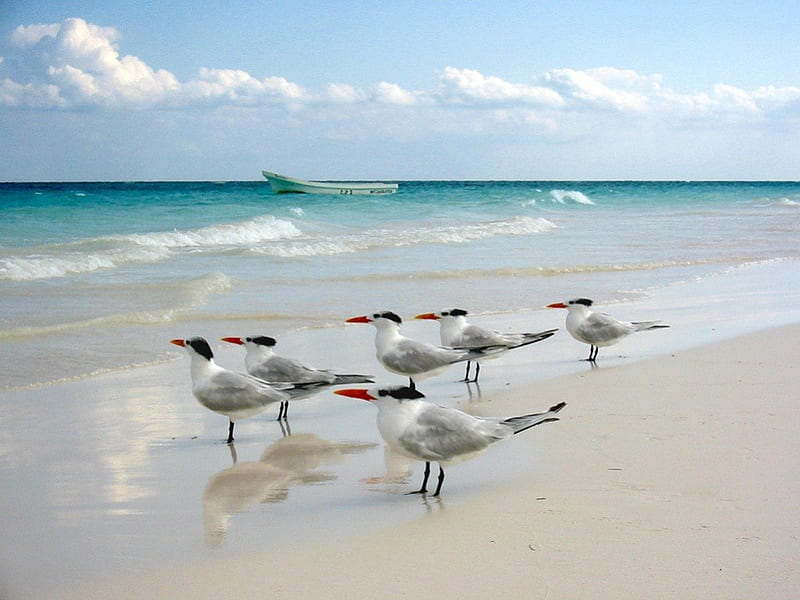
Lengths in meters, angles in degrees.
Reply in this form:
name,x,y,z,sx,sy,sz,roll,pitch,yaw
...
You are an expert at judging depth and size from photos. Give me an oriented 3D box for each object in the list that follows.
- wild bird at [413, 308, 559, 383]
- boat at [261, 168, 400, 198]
name,x,y,z,sx,sy,sz,roll,pitch,yaw
wild bird,1.168,0.575,10.017,1.900,0.737,0.481,1,-3,-14
boat,-4.753,-10.509,67.540,5.647,2.252,14.978,1,10,34
